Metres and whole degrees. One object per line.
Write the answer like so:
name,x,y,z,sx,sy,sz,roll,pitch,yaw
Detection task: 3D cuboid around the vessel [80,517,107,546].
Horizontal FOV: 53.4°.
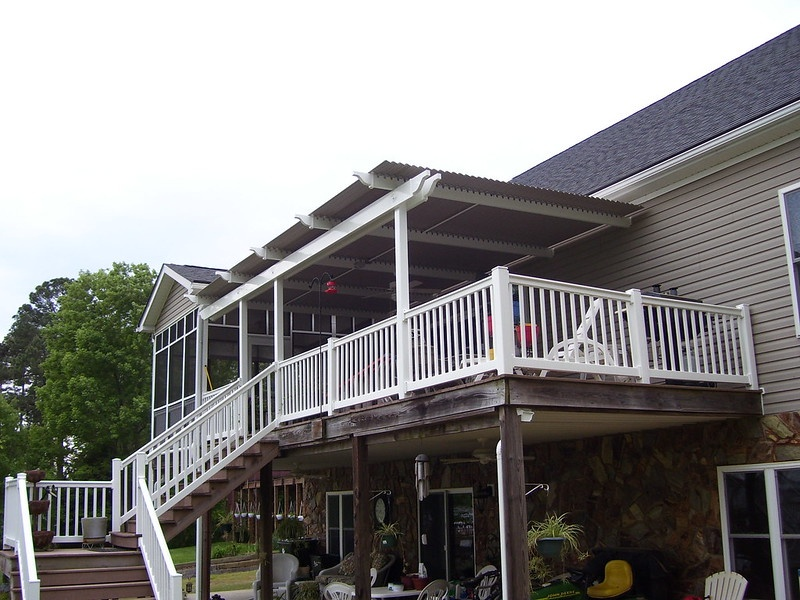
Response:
vessel,-5.130,3.912,13.432,0.502,0.466,0.451,1,-30,-6

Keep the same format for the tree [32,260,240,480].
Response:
tree,-12.372,3.902,40.756,10.717,13.945,11.041,5,-3,-15

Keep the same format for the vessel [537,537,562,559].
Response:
vessel,2.009,3.319,10.639,0.354,0.237,0.311,-2,-16,2
